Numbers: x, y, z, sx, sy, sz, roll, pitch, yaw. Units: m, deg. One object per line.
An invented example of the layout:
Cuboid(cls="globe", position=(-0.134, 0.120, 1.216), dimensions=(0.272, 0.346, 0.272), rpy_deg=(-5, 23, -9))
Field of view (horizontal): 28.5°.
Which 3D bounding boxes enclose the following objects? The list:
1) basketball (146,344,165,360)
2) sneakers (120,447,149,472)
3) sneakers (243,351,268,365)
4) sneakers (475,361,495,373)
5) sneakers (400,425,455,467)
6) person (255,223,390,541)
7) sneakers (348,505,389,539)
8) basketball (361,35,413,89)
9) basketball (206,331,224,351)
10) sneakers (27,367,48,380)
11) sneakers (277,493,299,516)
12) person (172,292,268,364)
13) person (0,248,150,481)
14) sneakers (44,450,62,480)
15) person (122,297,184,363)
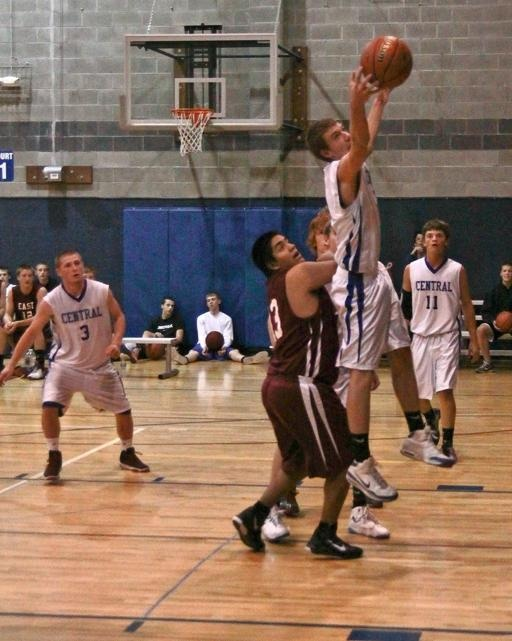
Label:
Cuboid(cls="basketball", position=(-1.226, 0.367, 12.044), dimensions=(0.218, 0.219, 0.167), rpy_deg=(1, 0, 36))
Cuboid(cls="sneakers", position=(-0.740, 0.821, 6.017), dimensions=(0.252, 0.158, 0.086), rpy_deg=(0, -1, 35))
Cuboid(cls="sneakers", position=(-0.023, 0.448, 11.595), dimensions=(0.253, 0.105, 0.145), rpy_deg=(-9, -6, 9))
Cuboid(cls="sneakers", position=(2.462, 0.499, 10.895), dimensions=(0.314, 0.143, 0.102), rpy_deg=(0, -2, -38))
Cuboid(cls="sneakers", position=(1.022, 0.744, 6.004), dimensions=(0.388, 0.266, 0.143), rpy_deg=(6, 7, 29))
Cuboid(cls="person", position=(0.185, 0.315, 4.352), dimensions=(0.388, 1.383, 0.437), rpy_deg=(-1, 6, -1))
Cuboid(cls="sneakers", position=(0.493, 0.927, 4.660), dimensions=(0.236, 0.153, 0.086), rpy_deg=(1, -1, 27))
Cuboid(cls="basketball", position=(0.544, -1.106, 4.308), dimensions=(0.209, 0.243, 0.308), rpy_deg=(0, 6, 8))
Cuboid(cls="basketball", position=(-0.512, 0.269, 11.905), dimensions=(0.214, 0.262, 0.258), rpy_deg=(-2, 6, -2))
Cuboid(cls="sneakers", position=(-2.261, 0.549, 10.346), dimensions=(0.094, 0.110, 0.259), rpy_deg=(10, -4, 5))
Cuboid(cls="sneakers", position=(0.150, 0.893, 4.894), dimensions=(0.063, 0.077, 0.184), rpy_deg=(-1, -13, 4))
Cuboid(cls="person", position=(-0.549, 0.102, 11.889), dimensions=(1.033, 0.801, 1.175), rpy_deg=(-1, 6, -14))
Cuboid(cls="person", position=(-1.038, 0.252, 5.858), dimensions=(0.771, 1.296, 0.482), rpy_deg=(-3, 6, -17))
Cuboid(cls="sneakers", position=(-1.174, 0.818, 5.755), dimensions=(0.103, 0.166, 0.216), rpy_deg=(-3, 6, -13))
Cuboid(cls="person", position=(-1.241, 0.120, 12.077), dimensions=(0.538, 0.761, 0.984), rpy_deg=(4, 7, 30))
